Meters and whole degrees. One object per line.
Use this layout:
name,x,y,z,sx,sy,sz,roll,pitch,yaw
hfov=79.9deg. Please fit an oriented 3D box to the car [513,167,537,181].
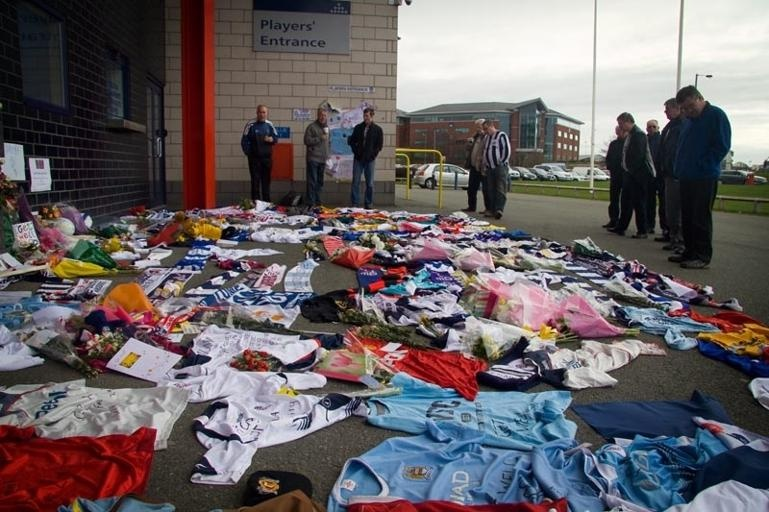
car,15.891,-9.247,51.793,1.504,1.162,2.522,-4,10,-24

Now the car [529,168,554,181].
car,17.829,-9.178,52.049,1.463,1.059,2.342,-14,18,-39

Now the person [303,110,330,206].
person,-1.926,-2.771,13.185,0.738,2.662,0.448,-5,14,-8

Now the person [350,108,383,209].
person,-0.533,-2.808,13.482,0.960,2.855,0.565,7,17,36
